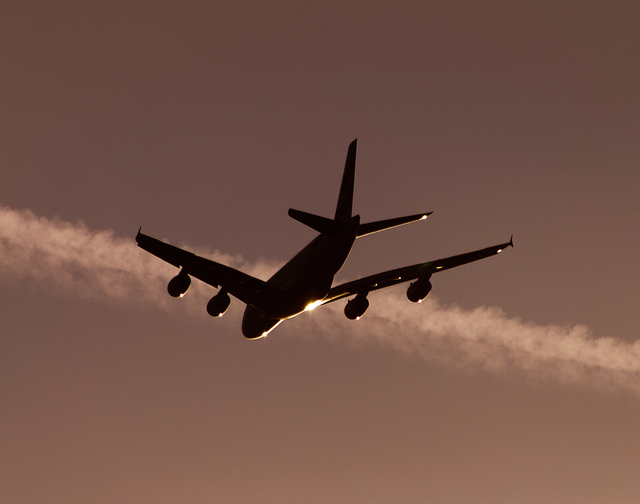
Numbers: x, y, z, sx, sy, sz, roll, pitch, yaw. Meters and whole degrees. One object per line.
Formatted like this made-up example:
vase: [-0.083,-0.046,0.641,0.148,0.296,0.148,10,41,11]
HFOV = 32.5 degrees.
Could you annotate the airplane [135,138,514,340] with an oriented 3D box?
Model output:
airplane: [-1.653,-3.267,64.863,16.136,4.476,12.387,7,-27,-16]
